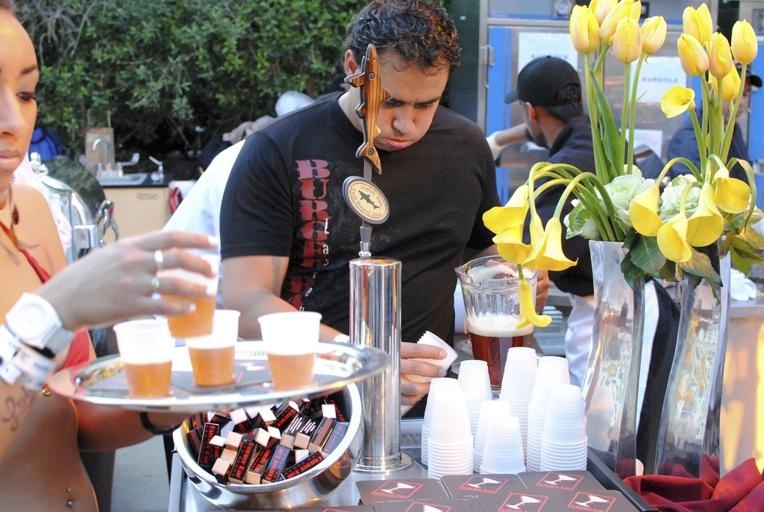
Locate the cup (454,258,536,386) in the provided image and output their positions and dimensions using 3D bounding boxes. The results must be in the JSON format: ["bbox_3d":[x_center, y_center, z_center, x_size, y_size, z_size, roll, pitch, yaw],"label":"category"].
[{"bbox_3d":[0.297,0.154,2.073,0.163,0.369,0.236,1,10,-4],"label":"cup"}]

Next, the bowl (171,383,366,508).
[{"bbox_3d":[-0.247,0.428,1.665,0.421,0.229,0.198,-2,6,-13],"label":"bowl"}]
